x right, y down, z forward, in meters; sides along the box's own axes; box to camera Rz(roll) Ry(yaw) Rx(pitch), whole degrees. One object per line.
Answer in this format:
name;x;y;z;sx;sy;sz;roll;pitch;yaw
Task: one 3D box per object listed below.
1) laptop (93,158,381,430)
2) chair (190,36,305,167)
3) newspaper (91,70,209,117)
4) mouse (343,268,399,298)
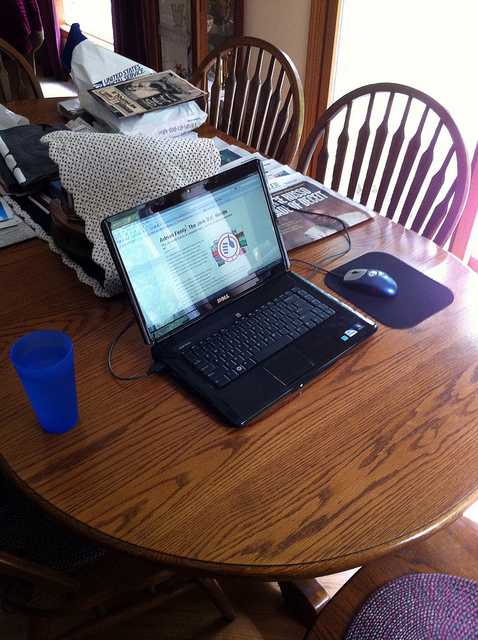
laptop;0.021;-0.049;0.739;0.312;0.187;0.334;36;51;21
chair;0.039;-0.708;1.791;0.375;0.480;0.381;11;18;-5
newspaper;-0.248;-0.619;1.349;0.279;0.020;0.188;-25;53;-25
mouse;0.234;-0.073;0.902;0.090;0.028;0.048;21;49;20
